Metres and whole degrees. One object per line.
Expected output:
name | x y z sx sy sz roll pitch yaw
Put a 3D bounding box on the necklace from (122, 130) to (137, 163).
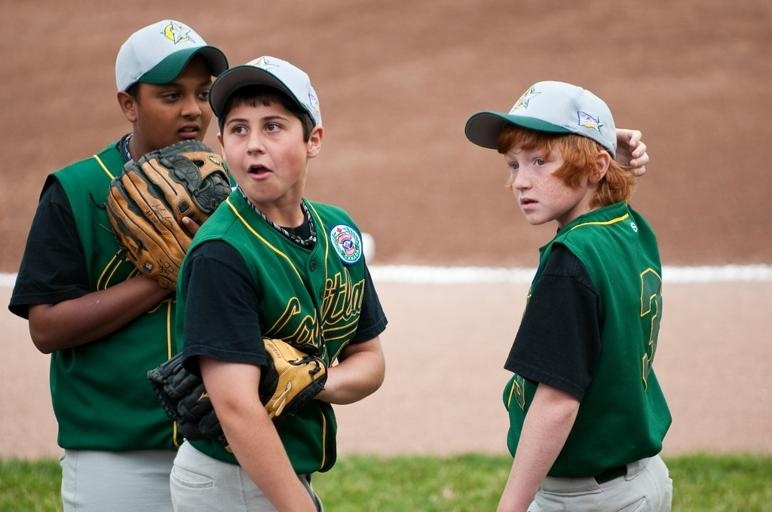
necklace | -1.757 -0.748 8.197 0.065 0.194 0.146 -8 -11 19
